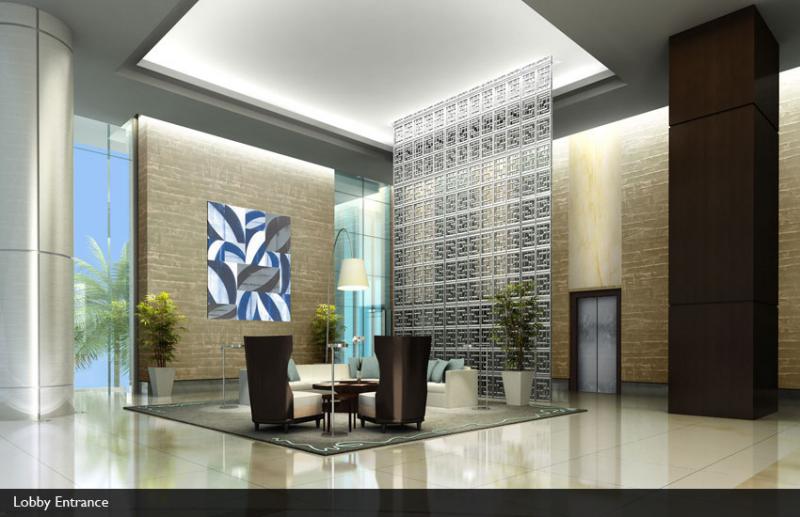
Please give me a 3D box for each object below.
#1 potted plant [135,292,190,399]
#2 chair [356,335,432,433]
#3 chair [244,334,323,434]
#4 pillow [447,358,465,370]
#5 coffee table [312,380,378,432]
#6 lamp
[{"bbox_3d":[-6.055,2.144,14.410,1.070,2.631,0.987,1,-12,-20],"label":"potted plant"},{"bbox_3d":[-0.051,2.151,9.812,1.193,1.576,0.681,-2,-11,-4],"label":"chair"},{"bbox_3d":[-2.163,2.192,10.188,1.140,1.806,1.139,-7,-10,43],"label":"chair"},{"bbox_3d":[1.325,2.471,13.291,0.096,0.195,0.227,25,-17,-38],"label":"pillow"},{"bbox_3d":[-1.022,2.834,10.657,1.310,1.085,1.368,6,-9,-39],"label":"coffee table"},{"bbox_3d":[-0.872,0.648,11.205,0.613,2.107,1.444,0,-6,-26],"label":"lamp"}]
